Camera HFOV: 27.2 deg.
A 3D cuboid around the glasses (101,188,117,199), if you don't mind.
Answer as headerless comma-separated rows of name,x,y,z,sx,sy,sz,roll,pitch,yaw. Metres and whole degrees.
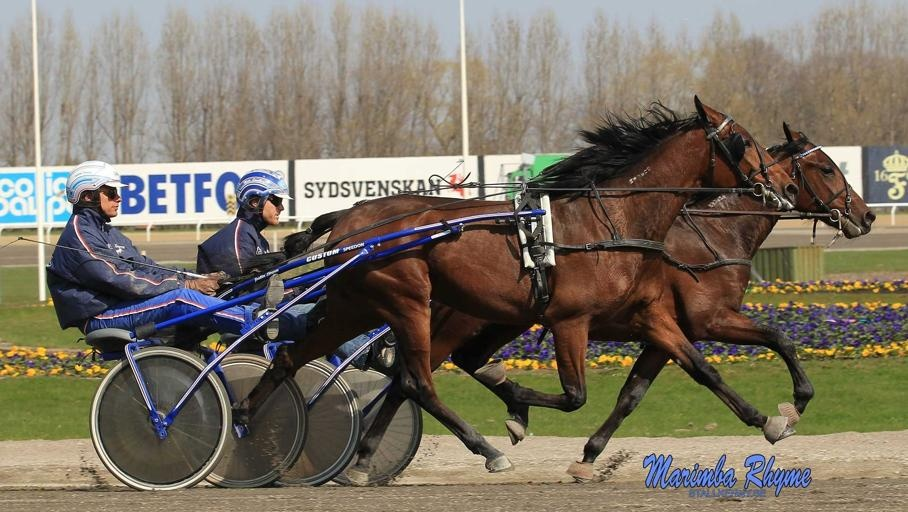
glasses,-7.958,-1.464,43.693,0.327,0.170,0.229,-3,7,15
